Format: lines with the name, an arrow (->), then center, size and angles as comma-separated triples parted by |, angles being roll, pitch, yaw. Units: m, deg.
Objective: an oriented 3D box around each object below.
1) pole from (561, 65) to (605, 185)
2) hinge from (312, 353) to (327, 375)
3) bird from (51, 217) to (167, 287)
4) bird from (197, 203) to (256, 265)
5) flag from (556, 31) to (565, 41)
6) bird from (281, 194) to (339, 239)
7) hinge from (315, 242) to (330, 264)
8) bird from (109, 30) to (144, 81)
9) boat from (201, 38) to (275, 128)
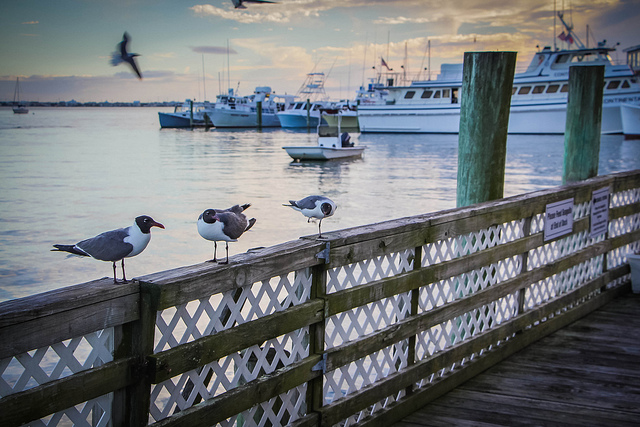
pole -> 3.247, -1.131, 7.630 | 0.395, 1.503, 0.358 | 11, 31, 33
hinge -> 0.011, 1.122, 4.503 | 0.113, 0.152, 0.036 | -5, 11, -13
bird -> -1.516, 0.253, 4.400 | 0.814, 0.479, 0.277 | -3, 14, -6
bird -> -0.790, 0.082, 5.204 | 0.258, 0.408, 0.797 | 5, 11, 15
flag -> 20.089, -14.667, 51.095 | 0.415, 0.727, 1.153 | -11, 1, 23
bird -> -0.106, 0.013, 6.293 | 0.287, 0.451, 0.780 | -2, 13, -37
hinge -> 0.035, 0.294, 4.477 | 0.132, 0.176, 0.115 | -1, 6, -9
bird -> -2.643, -2.120, 8.356 | 0.417, 0.170, 0.569 | -9, -17, -1
boat -> -10.572, -14.541, 83.049 | 4.313, 6.394, 14.095 | 9, 11, 42
